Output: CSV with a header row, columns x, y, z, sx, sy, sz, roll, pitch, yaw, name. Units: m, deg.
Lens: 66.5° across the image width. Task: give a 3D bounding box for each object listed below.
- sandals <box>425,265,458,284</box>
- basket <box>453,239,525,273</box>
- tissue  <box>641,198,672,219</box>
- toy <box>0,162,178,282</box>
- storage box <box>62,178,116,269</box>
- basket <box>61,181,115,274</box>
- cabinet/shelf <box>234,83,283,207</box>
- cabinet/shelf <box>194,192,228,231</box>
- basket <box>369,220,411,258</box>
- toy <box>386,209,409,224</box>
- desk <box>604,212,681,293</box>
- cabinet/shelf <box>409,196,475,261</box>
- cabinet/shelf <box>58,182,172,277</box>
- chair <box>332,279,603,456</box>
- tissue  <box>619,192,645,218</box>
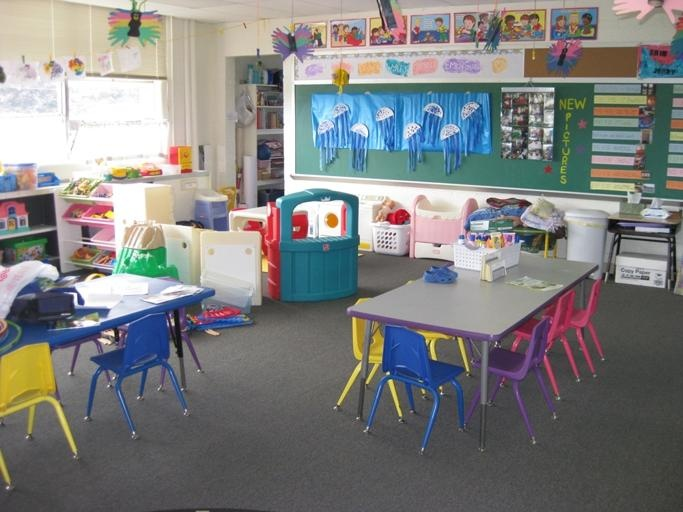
x,y,z,sx,sy,sz,roll,pitch,yaw,name
0.776,0.158,4.025,0.208,0.070,0.148,-3,16,-12,sandals
1.180,0.001,4.384,0.403,0.153,0.322,5,8,30,basket
3.931,-0.565,6.493,0.264,0.117,0.360,6,19,24,tissue 
-3.127,-0.376,6.303,1.609,1.027,0.476,1,3,26,toy
-3.317,-0.419,6.799,1.146,1.103,0.405,3,5,19,storage box
-3.327,-0.371,6.796,1.198,1.144,0.395,1,5,7,basket
-1.579,-2.116,10.023,1.025,2.288,0.611,-6,16,-24,cabinet/shelf
-2.098,-0.631,8.413,0.485,0.711,0.519,3,10,13,cabinet/shelf
0.733,-0.255,7.940,0.551,0.404,0.467,5,8,30,basket
0.870,-0.594,8.053,0.305,0.119,0.222,6,49,29,toy
3.849,-0.082,6.821,1.112,1.129,0.939,6,11,35,desk
1.584,-0.405,7.765,0.932,1.011,0.657,7,8,43,cabinet/shelf
-2.780,-0.325,6.370,1.198,0.989,0.399,3,5,28,cabinet/shelf
0.801,0.670,3.704,1.032,0.792,1.313,11,17,35,chair
3.744,-0.684,6.778,0.349,0.344,0.324,6,12,33,tissue 
